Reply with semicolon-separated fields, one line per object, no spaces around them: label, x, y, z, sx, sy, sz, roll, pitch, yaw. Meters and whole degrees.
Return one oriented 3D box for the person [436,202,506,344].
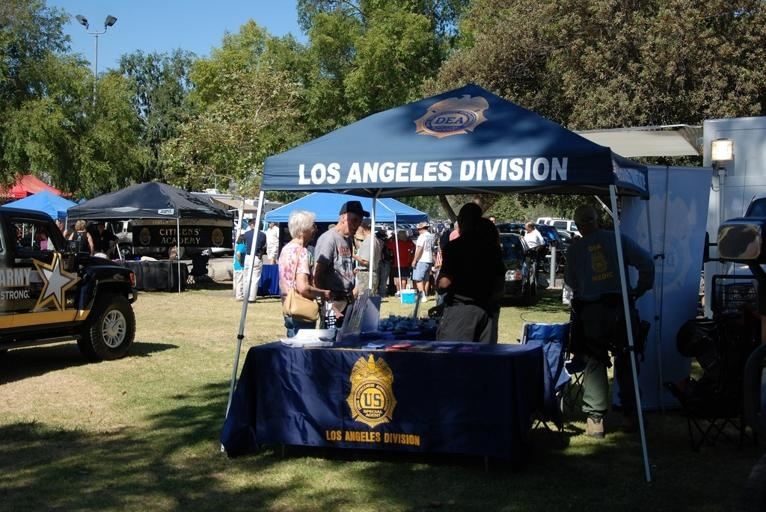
person;1.048;0.600;9.369;0.886;2.577;0.797;-4;21;-8

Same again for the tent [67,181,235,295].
tent;-7.774;-0.778;23.638;3.879;2.266;3.924;1;-5;-13

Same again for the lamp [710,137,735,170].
lamp;5.590;-1.684;12.375;0.340;0.478;0.447;3;8;23

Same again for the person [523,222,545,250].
person;5.153;-0.660;25.623;0.608;0.860;1.104;-10;2;-10

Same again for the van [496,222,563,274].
van;5.907;-0.351;28.864;3.198;1.725;1.898;-2;1;12

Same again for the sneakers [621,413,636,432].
sneakers;3.183;2.132;9.610;0.154;0.212;0.207;3;3;-40

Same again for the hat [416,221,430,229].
hat;1.127;-0.852;21.107;0.225;0.154;0.223;-3;8;-33

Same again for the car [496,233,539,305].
car;3.471;0.151;21.040;1.297;1.627;3.901;-2;8;17

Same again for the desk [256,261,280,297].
desk;-3.422;0.703;22.625;0.834;0.957;0.843;-1;3;-6

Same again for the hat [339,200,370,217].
hat;-0.427;-0.644;10.065;0.327;0.176;0.234;-1;-1;1

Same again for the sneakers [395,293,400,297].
sneakers;0.424;1.124;21.789;0.161;0.118;0.163;-3;-6;19

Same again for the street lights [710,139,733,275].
street lights;5.580;-1.047;12.372;0.341;1.731;0.298;0;-2;25

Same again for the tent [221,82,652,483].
tent;1.387;0.330;10.558;4.305;3.659;4.750;0;-2;20
